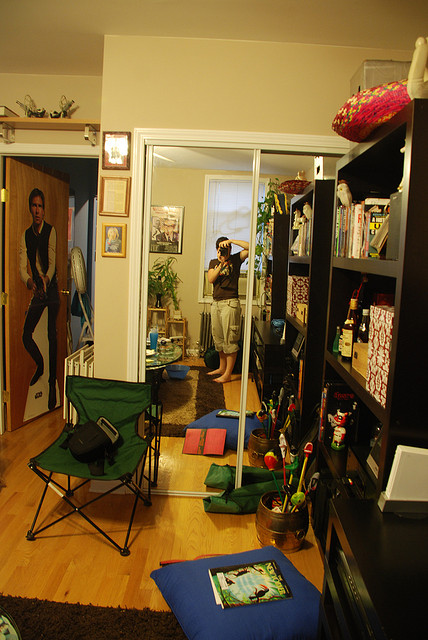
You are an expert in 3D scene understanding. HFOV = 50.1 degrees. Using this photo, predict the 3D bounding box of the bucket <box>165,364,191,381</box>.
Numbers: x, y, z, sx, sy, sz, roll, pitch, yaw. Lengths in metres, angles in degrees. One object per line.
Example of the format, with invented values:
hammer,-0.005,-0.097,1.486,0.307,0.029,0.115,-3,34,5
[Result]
bucket,-0.289,0.388,3.516,0.081,0.145,0.301,-1,7,-31

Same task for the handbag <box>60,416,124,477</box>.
handbag,-0.591,0.621,2.288,0.263,0.167,0.380,2,6,-9

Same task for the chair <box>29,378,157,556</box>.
chair,-0.633,0.744,2.343,0.646,0.737,0.675,-5,17,-42

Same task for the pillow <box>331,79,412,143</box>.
pillow,0.466,-0.641,1.420,0.092,0.111,0.343,2,6,-8

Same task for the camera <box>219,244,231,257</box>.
camera,0.064,-0.443,2.946,0.049,0.077,0.064,-4,-1,0

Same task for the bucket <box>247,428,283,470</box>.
bucket,0.333,0.861,2.980,0.236,0.256,0.274,2,6,-2

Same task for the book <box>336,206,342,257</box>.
book,0.518,-0.370,1.926,0.009,0.198,0.078,3,6,11

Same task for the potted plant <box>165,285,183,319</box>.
potted plant,-0.311,-0.139,3.515,0.099,0.243,0.289,0,7,-19
